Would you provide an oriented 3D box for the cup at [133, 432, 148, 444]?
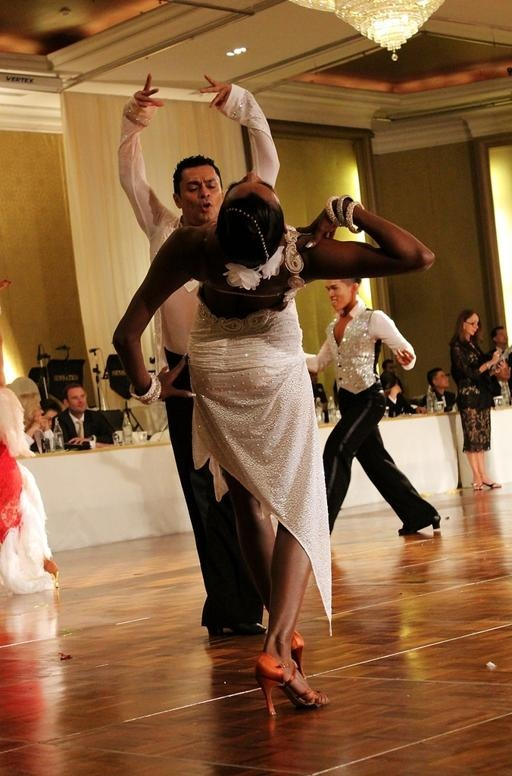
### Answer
[{"bbox_3d":[-1.321,0.569,6.923,0.144,0.105,0.148,0,-9,0],"label":"cup"}]

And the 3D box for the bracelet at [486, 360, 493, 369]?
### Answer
[{"bbox_3d":[3.005,-0.303,7.888,0.115,0.108,0.027,-3,-7,5],"label":"bracelet"}]

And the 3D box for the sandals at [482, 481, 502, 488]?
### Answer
[{"bbox_3d":[3.038,1.255,7.900,0.223,0.074,0.188,0,7,31],"label":"sandals"}]

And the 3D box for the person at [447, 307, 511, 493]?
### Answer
[{"bbox_3d":[2.911,0.134,8.107,0.721,2.274,0.589,-3,-1,-5],"label":"person"}]

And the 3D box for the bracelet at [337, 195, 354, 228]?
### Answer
[{"bbox_3d":[0.185,-0.365,1.260,0.022,0.057,0.053,-3,-23,16],"label":"bracelet"}]

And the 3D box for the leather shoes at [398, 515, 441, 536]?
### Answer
[{"bbox_3d":[1.289,1.101,4.906,0.443,0.176,0.145,3,-2,-1],"label":"leather shoes"}]

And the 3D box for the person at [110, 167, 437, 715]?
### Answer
[{"bbox_3d":[0.010,0.106,1.388,0.646,1.070,0.450,2,9,41],"label":"person"}]

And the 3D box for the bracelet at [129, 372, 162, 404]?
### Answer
[{"bbox_3d":[-0.284,0.007,1.559,0.069,0.057,0.084,-8,19,10],"label":"bracelet"}]
